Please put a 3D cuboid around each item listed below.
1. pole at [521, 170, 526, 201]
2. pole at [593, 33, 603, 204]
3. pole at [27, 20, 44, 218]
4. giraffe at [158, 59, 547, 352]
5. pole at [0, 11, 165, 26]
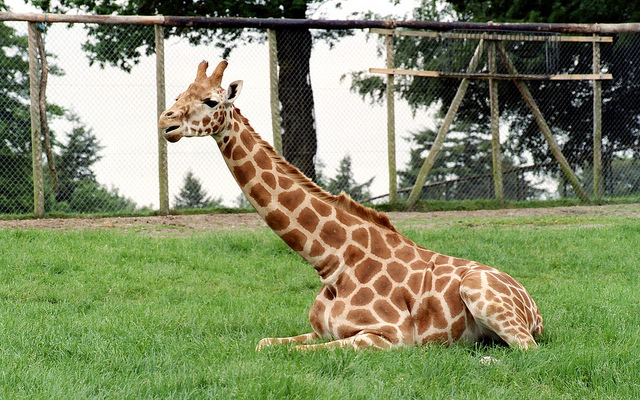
[{"bbox_3d":[5.201,-0.369,26.613,0.074,0.801,0.079,4,-7,-14],"label":"pole"},{"bbox_3d":[6.938,-2.018,26.053,0.212,4.284,0.689,-1,0,15],"label":"pole"},{"bbox_3d":[-6.366,-1.825,23.374,0.286,4.351,0.596,-1,0,-16],"label":"pole"},{"bbox_3d":[0.679,0.498,18.655,6.742,5.462,3.743,0,1,-17],"label":"giraffe"},{"bbox_3d":[-5.313,-4.111,23.629,3.551,0.312,0.379,-2,0,-10],"label":"pole"}]
